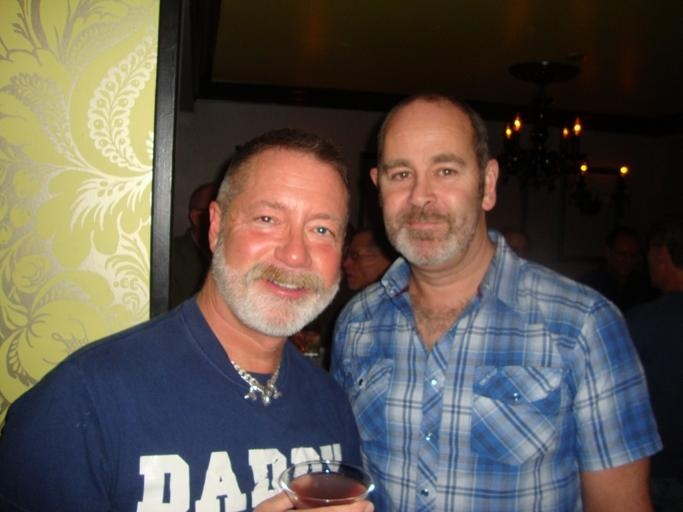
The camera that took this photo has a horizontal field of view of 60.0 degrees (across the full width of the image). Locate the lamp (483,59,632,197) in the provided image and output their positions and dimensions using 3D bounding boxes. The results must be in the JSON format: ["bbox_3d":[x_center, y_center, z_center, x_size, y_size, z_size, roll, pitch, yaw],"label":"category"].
[{"bbox_3d":[2.271,-1.457,6.777,1.412,1.348,1.496,5,9,20],"label":"lamp"}]
